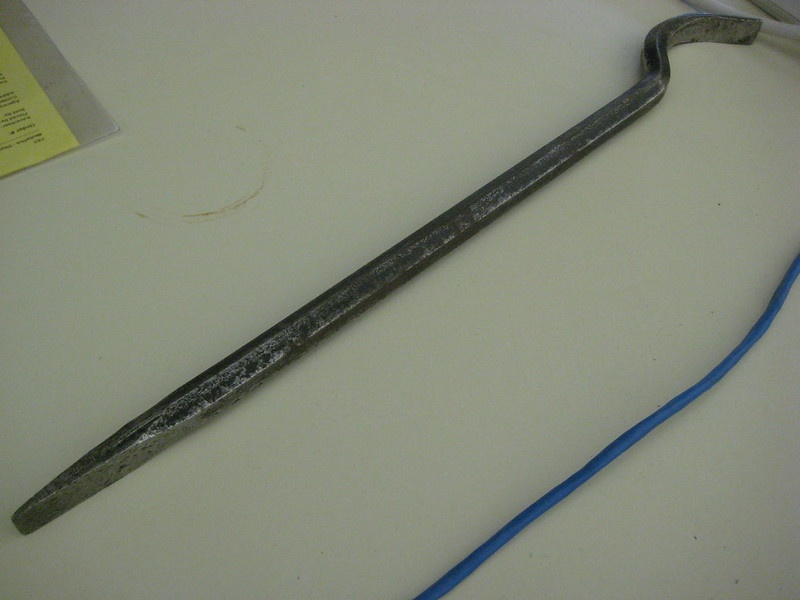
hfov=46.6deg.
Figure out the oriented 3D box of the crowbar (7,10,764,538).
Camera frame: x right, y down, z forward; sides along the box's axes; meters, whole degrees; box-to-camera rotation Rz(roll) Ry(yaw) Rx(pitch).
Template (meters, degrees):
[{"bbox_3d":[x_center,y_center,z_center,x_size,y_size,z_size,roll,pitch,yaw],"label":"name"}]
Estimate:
[{"bbox_3d":[-0.044,-0.019,1.853,1.421,0.162,0.077,-42,-45,-19],"label":"crowbar"}]
